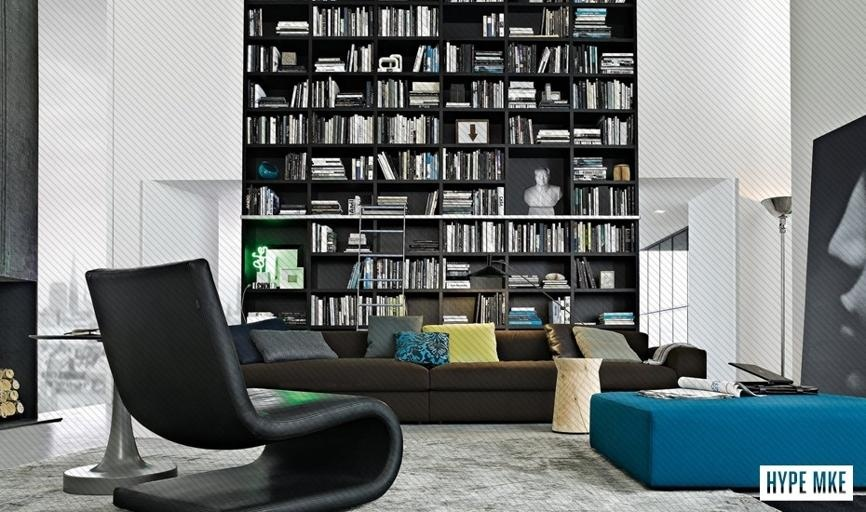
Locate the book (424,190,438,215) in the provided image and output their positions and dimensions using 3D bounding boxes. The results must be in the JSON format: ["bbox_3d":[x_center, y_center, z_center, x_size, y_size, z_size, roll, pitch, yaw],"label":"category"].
[{"bbox_3d":[-0.011,-0.647,12.518,0.169,0.300,0.138,-1,-1,-4],"label":"book"}]

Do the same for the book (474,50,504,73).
[{"bbox_3d":[0.672,-2.348,12.446,0.304,0.266,0.068,1,1,-2],"label":"book"}]

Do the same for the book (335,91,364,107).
[{"bbox_3d":[-0.999,-1.889,12.535,0.348,0.163,0.069,-1,-1,-5],"label":"book"}]

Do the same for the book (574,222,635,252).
[{"bbox_3d":[2.060,-0.246,12.488,0.730,0.353,0.178,-1,-1,-7],"label":"book"}]

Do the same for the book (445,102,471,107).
[{"bbox_3d":[0.306,-1.833,12.541,0.286,0.069,0.048,-1,0,0],"label":"book"}]

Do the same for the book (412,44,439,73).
[{"bbox_3d":[-0.057,-2.384,12.555,0.356,0.376,0.335,2,1,24],"label":"book"}]

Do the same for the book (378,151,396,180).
[{"bbox_3d":[-0.535,-1.093,12.500,0.079,0.289,0.306,-12,1,0],"label":"book"}]

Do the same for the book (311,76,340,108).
[{"bbox_3d":[-1.316,-1.976,12.567,0.326,0.358,0.119,-1,-1,-2],"label":"book"}]

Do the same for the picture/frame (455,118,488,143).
[{"bbox_3d":[0.466,-1.523,12.568,0.354,0.240,0.028,0,-2,-2],"label":"picture/frame"}]

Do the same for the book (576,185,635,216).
[{"bbox_3d":[2.080,-0.681,12.542,0.745,0.364,0.197,-1,0,6],"label":"book"}]

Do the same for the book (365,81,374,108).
[{"bbox_3d":[-0.766,-1.963,12.561,0.069,0.248,0.246,1,6,-13],"label":"book"}]

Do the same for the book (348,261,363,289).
[{"bbox_3d":[-0.927,0.221,12.430,0.244,0.288,0.097,7,-1,24],"label":"book"}]

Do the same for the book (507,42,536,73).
[{"bbox_3d":[1.069,-2.366,12.682,0.492,0.413,0.337,0,-3,3],"label":"book"}]

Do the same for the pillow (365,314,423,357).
[{"bbox_3d":[-0.428,0.875,11.406,0.491,0.292,0.167,0,-8,2],"label":"pillow"}]

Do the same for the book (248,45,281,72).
[{"bbox_3d":[-2.033,-2.387,12.681,0.350,0.388,0.432,0,3,4],"label":"book"}]

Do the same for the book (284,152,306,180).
[{"bbox_3d":[-1.647,-1.097,12.550,0.333,0.403,0.324,1,1,2],"label":"book"}]

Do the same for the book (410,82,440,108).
[{"bbox_3d":[-0.089,-1.956,12.538,0.354,0.300,0.078,1,-3,-2],"label":"book"}]

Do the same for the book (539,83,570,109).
[{"bbox_3d":[1.466,-1.937,12.637,0.368,0.302,0.293,0,-15,-3],"label":"book"}]

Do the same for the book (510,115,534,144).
[{"bbox_3d":[1.065,-1.513,12.758,0.345,0.386,0.436,-1,0,8],"label":"book"}]

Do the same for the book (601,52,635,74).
[{"bbox_3d":[2.257,-2.337,12.568,0.404,0.213,0.262,0,-1,4],"label":"book"}]

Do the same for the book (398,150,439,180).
[{"bbox_3d":[-0.174,-1.092,12.512,0.415,0.327,0.160,0,-2,-2],"label":"book"}]

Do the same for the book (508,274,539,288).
[{"bbox_3d":[1.093,0.281,12.482,0.369,0.160,0.250,-1,0,6],"label":"book"}]

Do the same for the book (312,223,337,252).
[{"bbox_3d":[-1.314,-0.217,12.652,0.337,0.371,0.421,0,-1,1],"label":"book"}]

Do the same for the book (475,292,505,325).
[{"bbox_3d":[0.696,0.604,12.560,0.373,0.428,0.486,0,-4,6],"label":"book"}]

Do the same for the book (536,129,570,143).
[{"bbox_3d":[1.455,-1.438,12.502,0.406,0.158,0.048,-1,-1,5],"label":"book"}]

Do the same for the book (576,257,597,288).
[{"bbox_3d":[1.882,0.179,12.473,0.119,0.336,0.268,-11,-1,-11],"label":"book"}]

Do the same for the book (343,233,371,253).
[{"bbox_3d":[-0.899,-0.170,12.440,0.273,0.166,0.254,0,0,1],"label":"book"}]

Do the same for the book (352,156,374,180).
[{"bbox_3d":[-0.814,-1.054,12.658,0.394,0.322,0.261,0,-2,1],"label":"book"}]

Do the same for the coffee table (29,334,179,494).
[{"bbox_3d":[-2.815,1.339,9.393,1.605,1.342,1.502,-2,-5,6],"label":"coffee table"}]

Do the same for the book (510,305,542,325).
[{"bbox_3d":[1.093,0.705,12.407,0.390,0.226,0.227,-1,0,3],"label":"book"}]

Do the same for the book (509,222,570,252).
[{"bbox_3d":[1.253,-0.241,12.507,0.729,0.344,0.105,-1,-1,-3],"label":"book"}]

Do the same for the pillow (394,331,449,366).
[{"bbox_3d":[-0.099,0.976,11.263,0.470,0.382,0.129,-1,-32,1],"label":"pillow"}]

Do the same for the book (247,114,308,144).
[{"bbox_3d":[-1.883,-1.524,12.538,0.734,0.353,0.090,-1,-1,1],"label":"book"}]

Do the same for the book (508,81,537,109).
[{"bbox_3d":[1.081,-1.954,12.562,0.361,0.227,0.333,0,1,-2],"label":"book"}]

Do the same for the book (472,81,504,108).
[{"bbox_3d":[0.685,-1.924,12.643,0.462,0.380,0.319,1,5,5],"label":"book"}]

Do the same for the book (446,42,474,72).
[{"bbox_3d":[0.323,-2.401,12.774,0.353,0.402,0.443,0,2,-1],"label":"book"}]

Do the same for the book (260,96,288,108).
[{"bbox_3d":[-1.929,-1.860,12.550,0.321,0.116,0.065,-1,-1,-12],"label":"book"}]

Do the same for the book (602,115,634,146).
[{"bbox_3d":[2.230,-1.520,12.586,0.358,0.413,0.464,-1,2,6],"label":"book"}]

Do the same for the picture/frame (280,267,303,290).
[{"bbox_3d":[-1.703,0.260,12.460,0.295,0.231,0.138,0,-7,-2],"label":"picture/frame"}]

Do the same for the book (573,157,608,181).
[{"bbox_3d":[1.878,-1.064,12.562,0.339,0.177,0.312,0,2,6],"label":"book"}]

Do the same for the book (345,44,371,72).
[{"bbox_3d":[-0.878,-2.394,12.580,0.334,0.379,0.418,1,4,-2],"label":"book"}]

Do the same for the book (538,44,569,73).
[{"bbox_3d":[1.431,-2.410,12.769,0.344,0.397,0.431,1,14,-9],"label":"book"}]

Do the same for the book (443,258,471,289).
[{"bbox_3d":[0.292,0.218,12.411,0.458,0.286,0.412,1,0,1],"label":"book"}]

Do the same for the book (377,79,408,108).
[{"bbox_3d":[-0.456,-1.938,12.699,0.474,0.394,0.321,0,0,-1],"label":"book"}]

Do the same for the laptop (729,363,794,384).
[{"bbox_3d":[2.991,1.065,9.506,0.376,0.296,0.435,-2,-1,3],"label":"laptop"}]

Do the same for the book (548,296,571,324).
[{"bbox_3d":[1.514,0.635,12.382,0.329,0.398,0.308,1,1,3],"label":"book"}]

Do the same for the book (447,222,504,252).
[{"bbox_3d":[0.495,-0.244,12.495,0.691,0.349,0.144,-1,-1,-11],"label":"book"}]
